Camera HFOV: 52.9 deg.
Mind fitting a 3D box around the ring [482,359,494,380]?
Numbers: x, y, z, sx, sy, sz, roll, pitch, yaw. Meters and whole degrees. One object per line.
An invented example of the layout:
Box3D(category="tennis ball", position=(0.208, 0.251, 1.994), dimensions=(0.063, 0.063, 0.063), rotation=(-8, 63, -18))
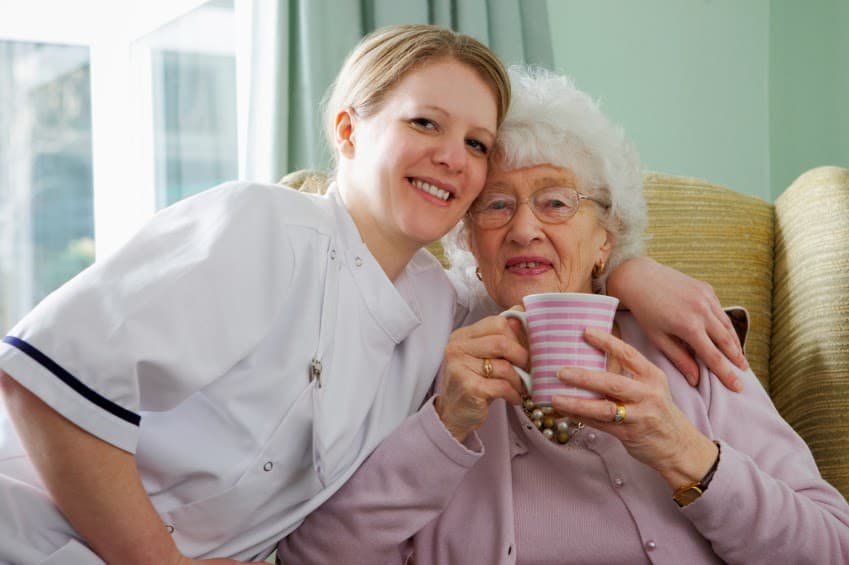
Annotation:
Box3D(category="ring", position=(0.164, 0.230, 2.258), dimensions=(0.014, 0.041, 0.036), rotation=(1, -18, -6))

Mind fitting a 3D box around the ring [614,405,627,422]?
Box3D(category="ring", position=(0.499, 0.336, 2.176), dimensions=(0.035, 0.034, 0.035), rotation=(1, -6, 0))

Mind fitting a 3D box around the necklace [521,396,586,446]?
Box3D(category="necklace", position=(0.356, 0.405, 2.444), dimensions=(0.157, 0.055, 0.150), rotation=(21, 15, -39))
